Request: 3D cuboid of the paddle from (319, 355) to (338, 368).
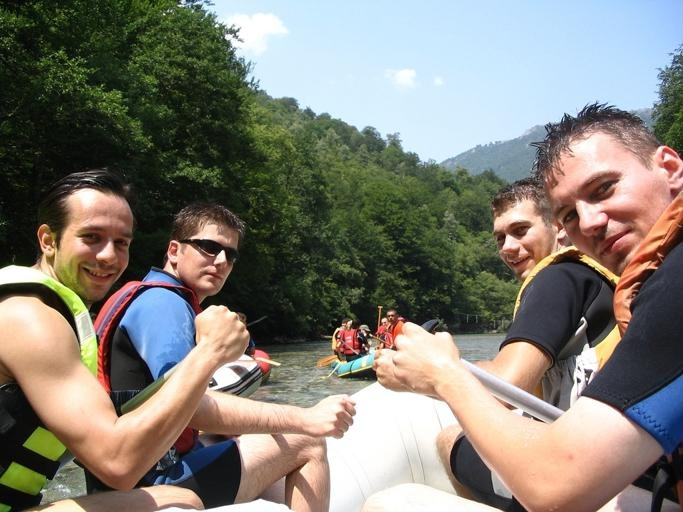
[{"bbox_3d":[-0.565,3.505,17.983,0.473,0.125,0.530,-34,-17,23],"label":"paddle"}]
